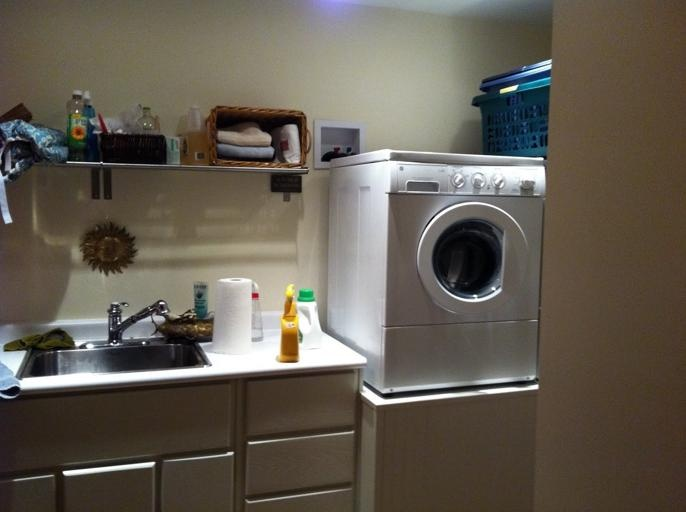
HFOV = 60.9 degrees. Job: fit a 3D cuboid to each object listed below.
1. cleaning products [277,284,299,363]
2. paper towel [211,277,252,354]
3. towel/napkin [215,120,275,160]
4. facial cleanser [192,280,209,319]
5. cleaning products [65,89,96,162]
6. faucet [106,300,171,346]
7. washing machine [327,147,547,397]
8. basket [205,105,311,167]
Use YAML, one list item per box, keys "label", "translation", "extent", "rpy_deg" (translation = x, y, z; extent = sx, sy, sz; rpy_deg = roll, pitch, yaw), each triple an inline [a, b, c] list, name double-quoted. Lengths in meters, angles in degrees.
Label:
- label: "cleaning products"
  translation: [-0.215, 0.267, 2.309]
  extent: [0.086, 0.289, 0.212]
  rpy_deg: [-2, 7, -5]
- label: "paper towel"
  translation: [-0.456, 0.240, 2.369]
  extent: [0.128, 0.313, 0.138]
  rpy_deg: [1, 8, -23]
- label: "towel/napkin"
  translation: [-0.410, -0.467, 2.442]
  extent: [0.236, 0.140, 0.091]
  rpy_deg: [-3, 8, -16]
- label: "facial cleanser"
  translation: [-0.638, 0.200, 2.639]
  extent: [0.068, 0.156, 0.132]
  rpy_deg: [-3, 7, -14]
- label: "cleaning products"
  translation: [-1.057, -0.522, 2.358]
  extent: [0.107, 0.278, 0.174]
  rpy_deg: [-4, 8, -23]
- label: "faucet"
  translation: [-0.869, 0.278, 2.472]
  extent: [0.255, 0.170, 0.104]
  rpy_deg: [-2, 7, -10]
- label: "washing machine"
  translation: [0.381, 0.072, 2.742]
  extent: [0.926, 1.356, 0.896]
  rpy_deg: [0, 0, -19]
- label: "basket"
  translation: [-0.381, -0.487, 2.516]
  extent: [0.485, 0.294, 0.310]
  rpy_deg: [1, 10, -28]
